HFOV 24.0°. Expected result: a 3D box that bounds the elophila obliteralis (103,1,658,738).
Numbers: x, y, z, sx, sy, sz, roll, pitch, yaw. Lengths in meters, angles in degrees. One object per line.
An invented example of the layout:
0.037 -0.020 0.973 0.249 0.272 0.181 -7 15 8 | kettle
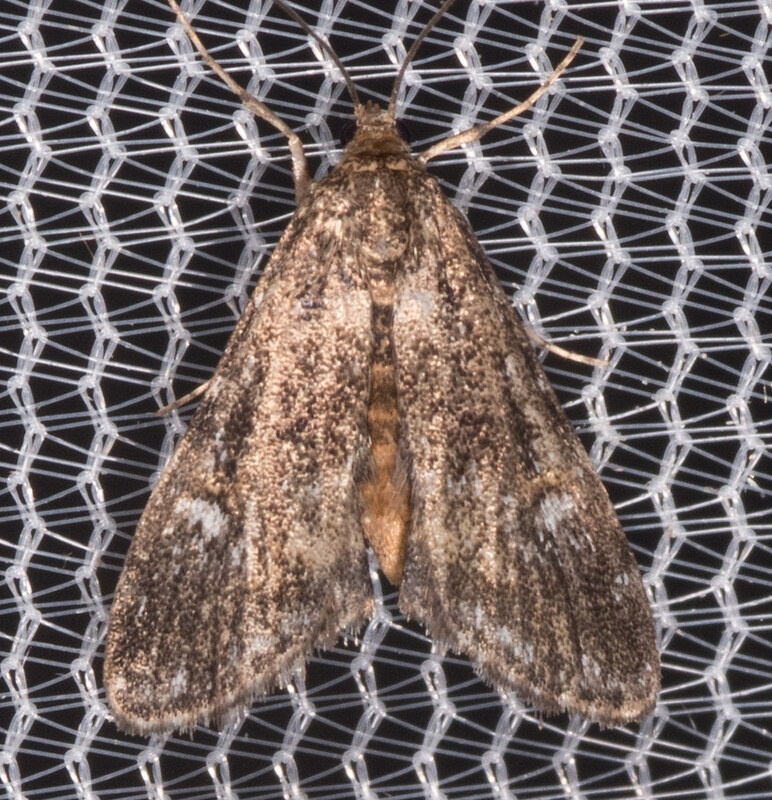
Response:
-0.025 -0.061 3.866 1.026 0.301 1.498 0 95 3 | elophila obliteralis
